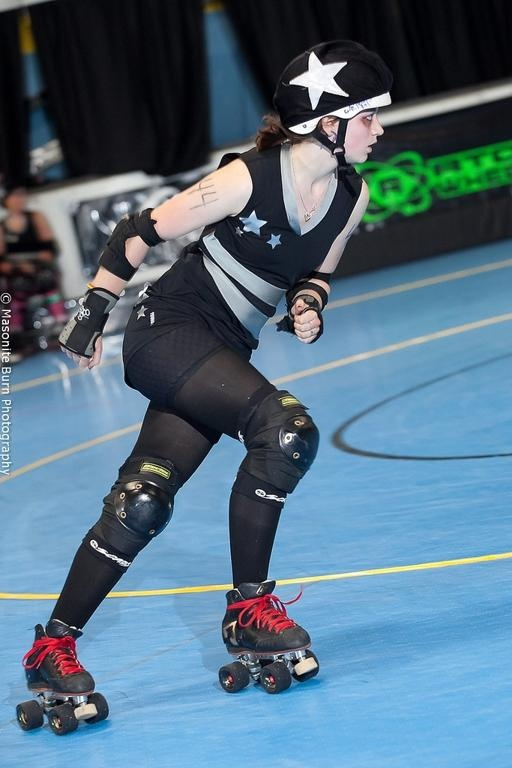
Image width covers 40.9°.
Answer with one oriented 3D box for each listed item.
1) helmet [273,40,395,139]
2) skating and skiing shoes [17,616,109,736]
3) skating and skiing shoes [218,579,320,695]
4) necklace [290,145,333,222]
[{"bbox_3d":[0.184,-0.704,1.736,0.256,0.254,0.243,-30,15,-23],"label":"helmet"},{"bbox_3d":[-0.455,0.677,1.600,0.157,0.219,0.230,5,-17,-44],"label":"skating and skiing shoes"},{"bbox_3d":[0.032,0.598,1.617,0.246,0.222,0.182,-15,-19,37],"label":"skating and skiing shoes"},{"bbox_3d":[0.141,-0.486,1.636,0.100,0.196,0.067,-12,19,-4],"label":"necklace"}]
